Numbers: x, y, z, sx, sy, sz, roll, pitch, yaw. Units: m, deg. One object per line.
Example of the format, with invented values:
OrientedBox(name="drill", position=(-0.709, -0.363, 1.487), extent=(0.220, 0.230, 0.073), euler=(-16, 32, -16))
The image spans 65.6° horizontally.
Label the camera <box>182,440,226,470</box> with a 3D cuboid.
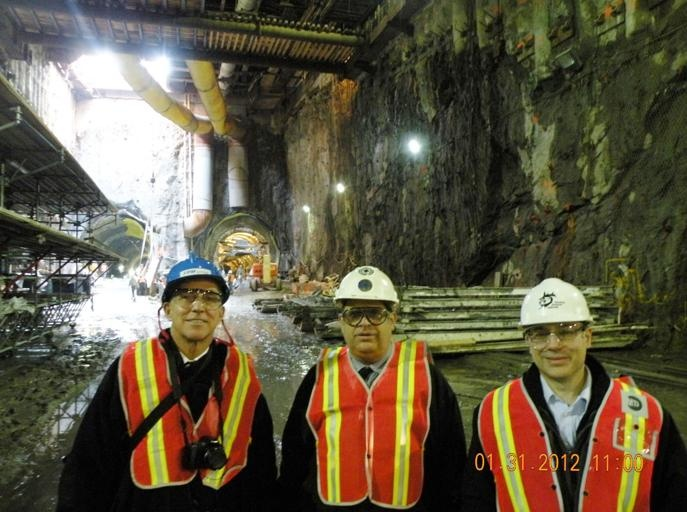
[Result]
OrientedBox(name="camera", position=(-1.242, 1.732, 4.790), extent=(0.287, 0.249, 0.283), euler=(9, -19, -32))
